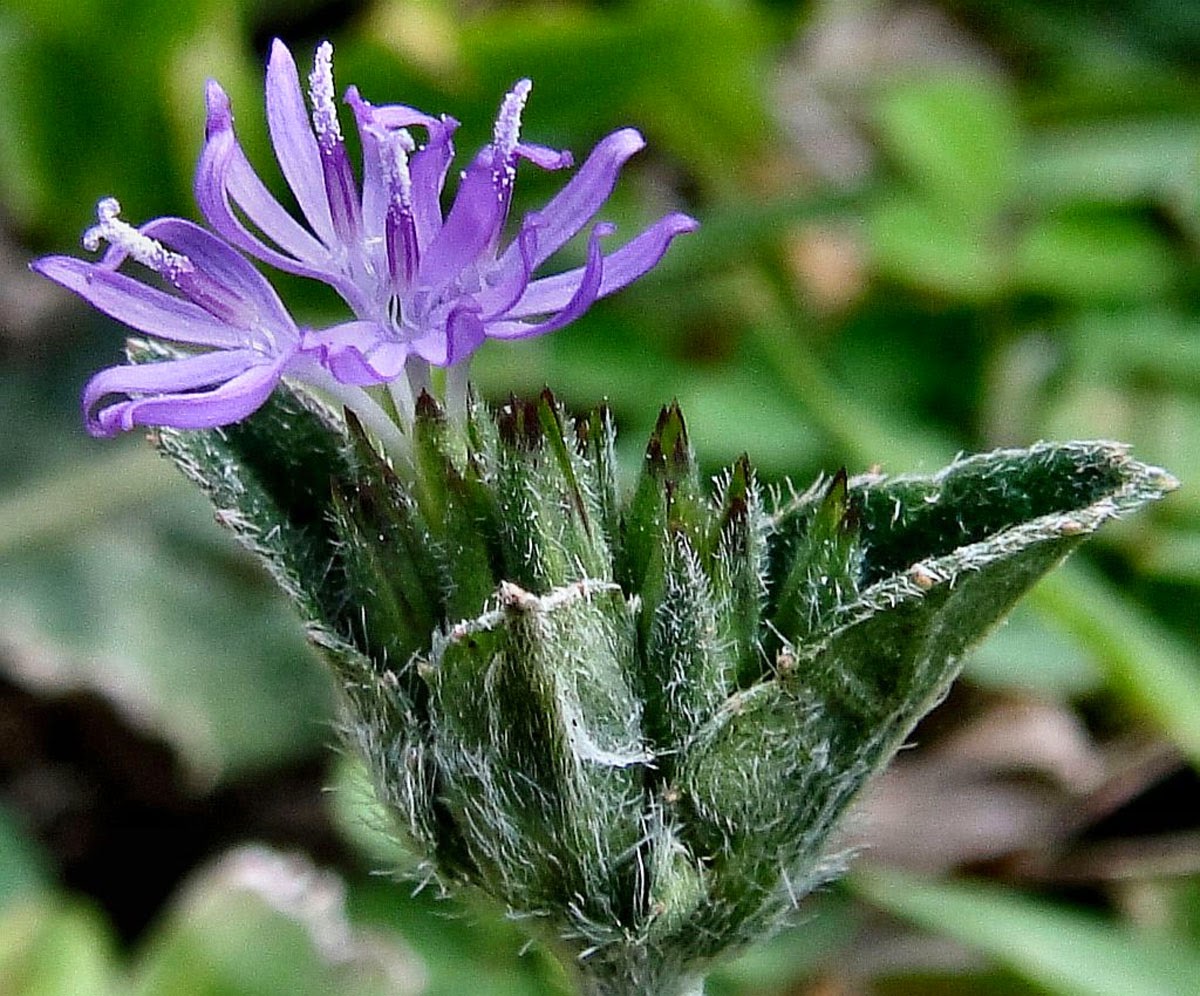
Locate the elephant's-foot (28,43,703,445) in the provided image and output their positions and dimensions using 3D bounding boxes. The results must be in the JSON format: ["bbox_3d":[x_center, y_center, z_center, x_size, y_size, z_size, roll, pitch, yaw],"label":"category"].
[{"bbox_3d":[-0.238,-0.218,1.430,0.399,0.231,0.458,-8,47,-13],"label":"elephant's-foot"}]
